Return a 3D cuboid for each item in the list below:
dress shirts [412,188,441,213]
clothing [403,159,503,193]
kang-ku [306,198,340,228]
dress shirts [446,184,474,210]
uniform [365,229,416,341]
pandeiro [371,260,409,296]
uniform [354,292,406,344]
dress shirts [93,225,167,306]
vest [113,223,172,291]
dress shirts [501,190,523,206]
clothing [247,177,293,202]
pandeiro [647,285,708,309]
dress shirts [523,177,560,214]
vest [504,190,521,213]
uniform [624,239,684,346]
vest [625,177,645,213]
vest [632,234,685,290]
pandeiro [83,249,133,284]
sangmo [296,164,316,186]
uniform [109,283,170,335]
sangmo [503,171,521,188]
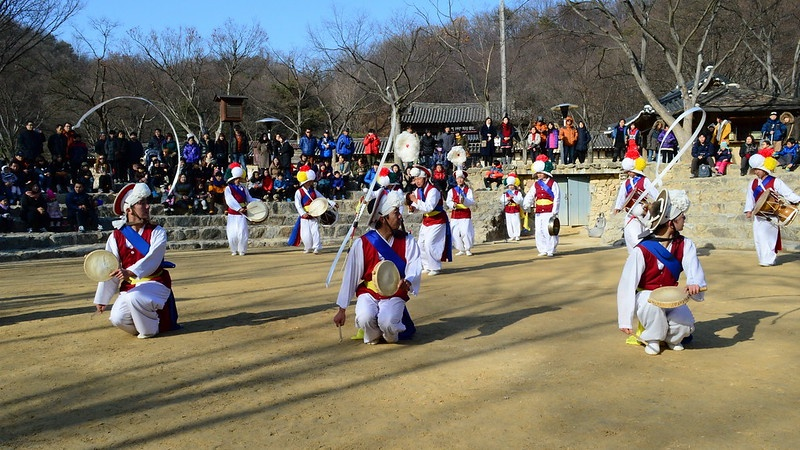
[{"bbox_3d":[0.510,-0.530,15.467,0.611,0.451,0.487,8,-9,-28],"label":"dress shirts"},{"bbox_3d":[1.574,-1.451,21.130,3.422,0.457,0.751,4,-21,0],"label":"clothing"},{"bbox_3d":[-1.940,-0.327,17.401,0.717,0.662,0.724,0,-9,11],"label":"kang-ku"},{"bbox_3d":[1.462,-0.614,17.122,0.763,0.601,0.476,0,-2,2],"label":"dress shirts"},{"bbox_3d":[-0.420,1.026,11.936,1.119,1.656,0.417,20,-4,-24],"label":"uniform"},{"bbox_3d":[-0.195,0.903,11.585,0.507,0.613,0.143,-2,5,-23],"label":"pandeiro"},{"bbox_3d":[-0.188,1.595,12.156,1.195,0.788,1.303,10,-13,5],"label":"uniform"},{"bbox_3d":[-4.482,0.711,11.924,1.100,1.432,0.483,18,2,5],"label":"dress shirts"},{"bbox_3d":[-4.497,0.602,12.116,1.021,1.257,0.723,-2,3,-13],"label":"vest"},{"bbox_3d":[2.988,-0.806,19.282,0.405,0.158,0.494,-6,31,-26],"label":"dress shirts"},{"bbox_3d":[-4.050,-1.119,22.393,0.801,0.562,1.098,-11,10,-39],"label":"clothing"},{"bbox_3d":[4.334,1.125,11.060,0.663,0.107,0.417,-10,16,-17],"label":"pandeiro"},{"bbox_3d":[3.540,-0.734,17.212,0.940,0.899,0.542,2,9,37],"label":"dress shirts"},{"bbox_3d":[3.091,-0.657,19.354,0.647,0.823,0.470,0,3,-2],"label":"vest"},{"bbox_3d":[4.214,1.057,11.281,0.951,2.126,0.619,7,-31,-3],"label":"uniform"},{"bbox_3d":[4.659,-0.604,13.904,0.222,0.653,0.522,32,-28,-11],"label":"vest"},{"bbox_3d":[4.129,0.603,11.248,0.886,0.810,0.473,-1,7,-10],"label":"vest"},{"bbox_3d":[-5.024,0.673,12.002,0.565,0.543,0.258,12,8,-5],"label":"pandeiro"},{"bbox_3d":[-2.419,-1.322,18.324,0.441,0.265,0.562,2,-13,6],"label":"sangmo"},{"bbox_3d":[-4.553,1.476,12.273,0.949,1.056,0.895,0,-4,-43],"label":"uniform"},{"bbox_3d":[2.994,-1.219,18.899,0.443,0.270,0.586,-1,0,12],"label":"sangmo"}]
